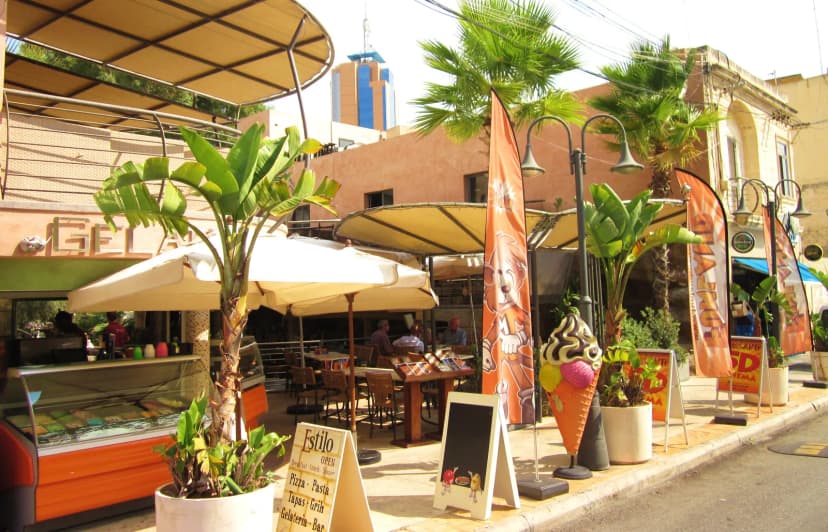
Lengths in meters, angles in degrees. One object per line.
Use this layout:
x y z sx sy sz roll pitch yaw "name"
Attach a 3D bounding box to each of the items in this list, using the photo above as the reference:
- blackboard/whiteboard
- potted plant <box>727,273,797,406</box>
0.815 2.909 9.563 0.951 1.807 0.592 3 6 30 "blackboard/whiteboard"
9.066 1.946 15.915 1.661 3.345 1.537 0 -1 -20 "potted plant"
